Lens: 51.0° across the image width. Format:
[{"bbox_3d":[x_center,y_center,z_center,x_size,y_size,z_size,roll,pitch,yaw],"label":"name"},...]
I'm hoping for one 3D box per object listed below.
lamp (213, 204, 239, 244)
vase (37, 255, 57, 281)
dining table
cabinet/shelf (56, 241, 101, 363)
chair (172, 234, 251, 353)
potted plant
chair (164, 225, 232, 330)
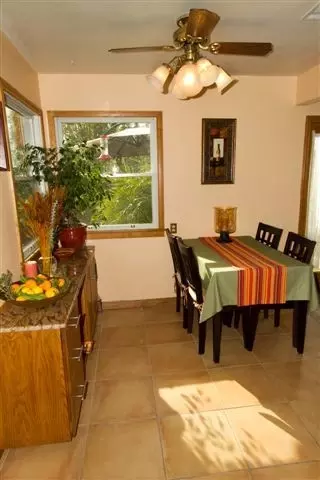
[{"bbox_3d":[0.599,-0.147,3.237,0.300,0.456,0.303,0,8,0],"label":"lamp"},{"bbox_3d":[-0.712,0.179,2.132,0.134,0.158,0.135,-1,0,-7],"label":"vase"},{"bbox_3d":[0.739,0.494,2.812,0.890,0.778,0.957,-1,11,1],"label":"dining table"},{"bbox_3d":[-0.559,0.414,2.283,0.253,0.494,0.788,-4,30,-4],"label":"cabinet/shelf"},{"bbox_3d":[0.447,0.419,2.782,0.613,0.875,0.590,-8,13,-23],"label":"chair"},{"bbox_3d":[-0.812,-0.408,2.789,0.615,0.867,0.799,17,29,32],"label":"potted plant"},{"bbox_3d":[0.218,0.211,3.345,0.747,1.176,0.691,-4,25,-7],"label":"chair"}]
